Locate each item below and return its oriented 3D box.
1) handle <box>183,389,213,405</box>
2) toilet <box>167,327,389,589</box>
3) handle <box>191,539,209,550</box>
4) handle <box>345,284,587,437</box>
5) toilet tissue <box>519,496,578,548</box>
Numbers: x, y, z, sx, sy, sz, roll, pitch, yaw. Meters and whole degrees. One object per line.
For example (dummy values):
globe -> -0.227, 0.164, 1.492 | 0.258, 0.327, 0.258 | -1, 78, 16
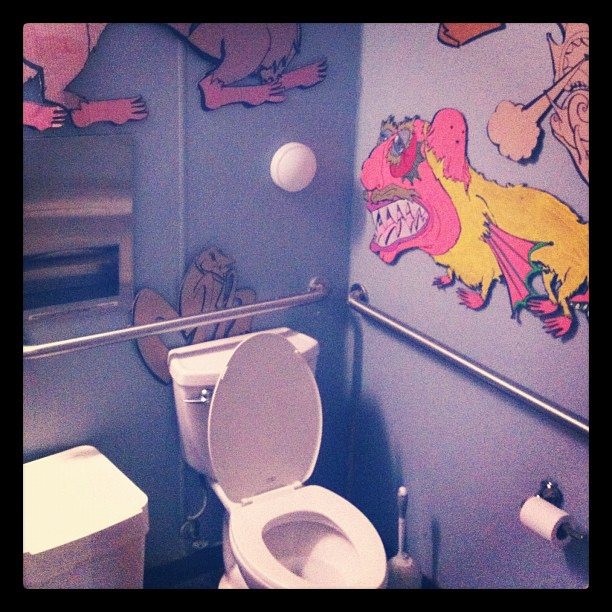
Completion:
handle -> -0.230, 0.193, 1.308 | 0.059, 0.035, 0.005 | 6, 3, -18
toilet -> -0.042, 0.368, 1.377 | 0.385, 0.649, 0.458 | -10, 28, -26
handle -> -0.236, 0.527, 1.357 | 0.004, 0.022, 0.034 | -9, -11, 35
handle -> 0.310, 0.094, 1.269 | 0.530, 0.215, 0.041 | 10, 6, 33
toilet tissue -> 0.455, 0.396, 1.164 | 0.066, 0.079, 0.094 | -9, 13, -32
